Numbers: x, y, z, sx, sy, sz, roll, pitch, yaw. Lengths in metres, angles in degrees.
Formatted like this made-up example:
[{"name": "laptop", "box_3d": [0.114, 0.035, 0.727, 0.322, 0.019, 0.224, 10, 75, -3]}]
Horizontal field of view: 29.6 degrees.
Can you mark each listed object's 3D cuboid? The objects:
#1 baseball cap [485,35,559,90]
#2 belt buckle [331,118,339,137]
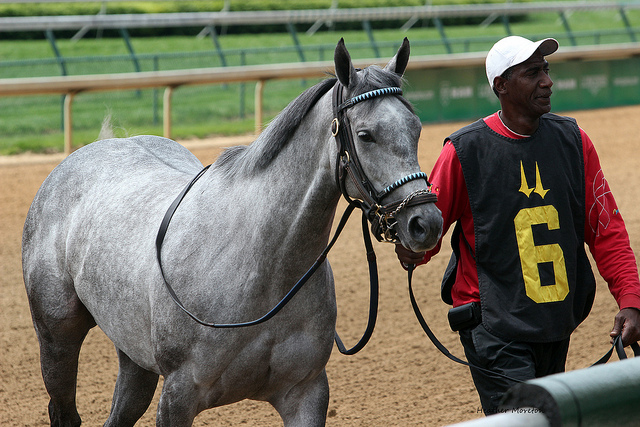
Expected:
[{"name": "baseball cap", "box_3d": [1.532, -1.245, 9.420, 0.495, 0.259, 0.362, -36, -10, 29]}, {"name": "belt buckle", "box_3d": [0.112, -0.641, 9.045, 0.055, 0.131, 0.059, -6, 19, 6]}]
